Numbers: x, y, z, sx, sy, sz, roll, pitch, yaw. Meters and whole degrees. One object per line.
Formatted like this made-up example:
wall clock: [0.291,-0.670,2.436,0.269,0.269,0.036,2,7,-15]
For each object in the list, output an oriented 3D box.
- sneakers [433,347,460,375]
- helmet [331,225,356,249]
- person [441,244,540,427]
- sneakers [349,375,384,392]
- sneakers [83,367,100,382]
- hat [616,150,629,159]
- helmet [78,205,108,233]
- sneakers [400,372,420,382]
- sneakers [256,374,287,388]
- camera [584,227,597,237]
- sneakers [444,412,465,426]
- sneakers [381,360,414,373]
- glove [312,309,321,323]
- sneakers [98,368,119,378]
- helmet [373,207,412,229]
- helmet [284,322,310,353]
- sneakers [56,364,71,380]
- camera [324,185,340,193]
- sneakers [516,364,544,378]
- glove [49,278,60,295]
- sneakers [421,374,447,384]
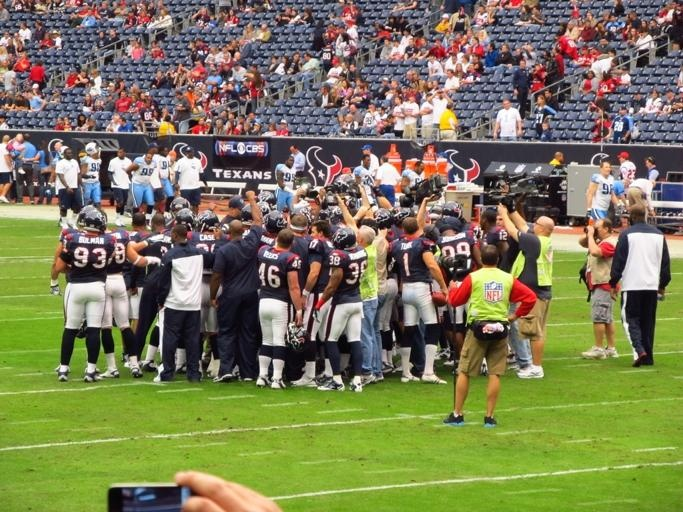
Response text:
sneakers: [1.698,1.714,20.123,0.180,0.235,0.539,0,-7,25]
helmet: [0.041,-0.273,17.990,0.260,0.285,0.348,-10,26,-42]
person: [1.987,1.070,16.483,1.286,2.350,0.834,1,-6,18]
sneakers: [0.326,1.862,18.390,0.517,0.230,0.169,-14,8,-32]
sneakers: [-3.767,1.783,18.510,0.114,0.157,0.332,2,6,6]
hat: [7.139,-2.574,31.554,0.353,0.191,0.259,6,14,36]
helmet: [-3.732,-0.528,18.390,0.398,0.369,0.456,-2,10,-12]
sneakers: [1.080,1.842,18.919,0.349,0.152,0.120,0,2,-39]
sneakers: [-1.023,1.856,18.355,0.484,0.205,0.169,2,0,-31]
camera: [4.012,-0.415,19.981,0.156,0.075,0.205,4,40,13]
sneakers: [1.507,2.174,16.569,0.319,0.148,0.121,4,5,23]
sneakers: [0.856,1.732,19.615,0.539,0.204,0.173,-3,3,-5]
glove: [-0.377,0.871,18.298,0.036,0.176,0.187,-7,13,-37]
sneakers: [-3.532,1.765,18.731,0.327,0.136,0.120,2,5,9]
helmet: [0.761,-0.602,19.319,0.333,0.215,0.452,-9,0,-6]
helmet: [-0.655,1.179,17.992,0.315,0.348,0.392,-4,-30,-3]
sneakers: [-4.193,1.726,18.511,0.151,0.271,0.306,-1,10,-9]
camera: [-0.183,-1.086,19.902,0.279,0.134,0.188,5,11,24]
sneakers: [2.924,1.768,19.092,0.383,0.170,0.186,3,6,12]
glove: [-4.947,0.525,21.166,0.159,0.205,0.415,36,-23,1]
sneakers: [1.374,1.839,18.694,0.433,0.180,0.138,1,3,-2]
